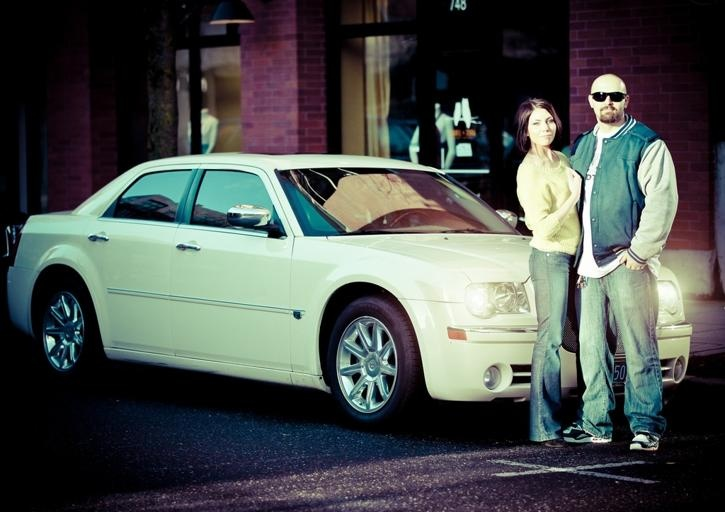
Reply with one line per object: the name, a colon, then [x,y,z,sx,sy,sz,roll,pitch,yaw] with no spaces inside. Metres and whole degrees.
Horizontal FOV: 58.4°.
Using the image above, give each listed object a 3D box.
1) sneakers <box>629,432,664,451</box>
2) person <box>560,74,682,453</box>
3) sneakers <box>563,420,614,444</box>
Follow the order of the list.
sneakers: [1.868,1.213,4.266,0.230,0.115,0.088,0,2,23]
person: [1.716,0.032,4.335,0.720,2.508,0.450,-1,-1,28]
sneakers: [1.593,1.240,4.556,0.372,0.177,0.144,5,-2,2]
